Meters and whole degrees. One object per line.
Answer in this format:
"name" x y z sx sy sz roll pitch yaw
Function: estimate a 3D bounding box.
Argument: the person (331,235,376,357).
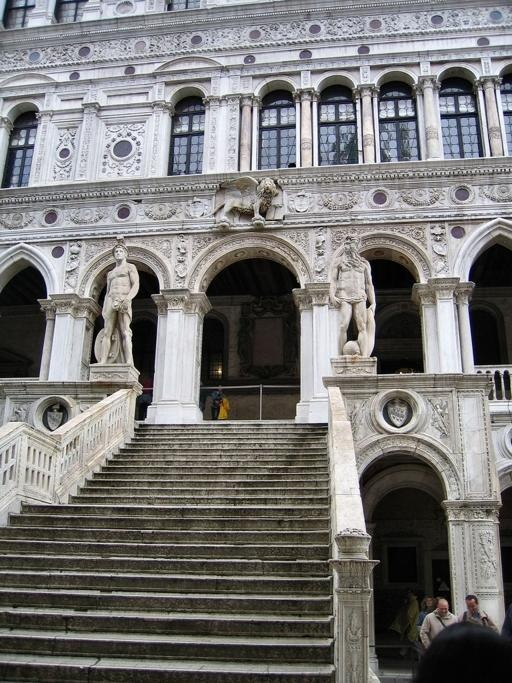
"person" 2.043 -1.083 13.993 0.806 3.450 0.906 -19 -34 35

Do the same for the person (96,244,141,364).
"person" -3.207 -0.914 15.377 0.829 3.307 1.213 9 -28 -13
